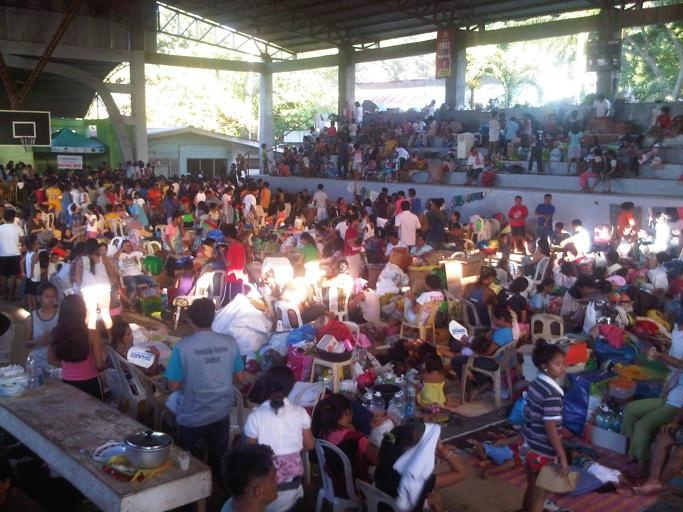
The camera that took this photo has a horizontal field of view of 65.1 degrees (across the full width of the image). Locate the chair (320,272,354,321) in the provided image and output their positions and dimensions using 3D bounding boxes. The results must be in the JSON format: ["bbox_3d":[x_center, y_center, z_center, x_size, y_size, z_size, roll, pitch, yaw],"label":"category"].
[{"bbox_3d":[-0.064,0.592,7.917,0.537,0.901,0.542,1,2,-8],"label":"chair"}]

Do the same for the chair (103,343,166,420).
[{"bbox_3d":[-2.232,1.332,5.766,0.521,0.802,0.514,3,16,26],"label":"chair"}]

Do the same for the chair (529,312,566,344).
[{"bbox_3d":[2.710,0.949,7.099,0.392,0.381,1.296,1,12,19],"label":"chair"}]

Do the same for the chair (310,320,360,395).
[{"bbox_3d":[-0.103,1.162,6.008,0.391,0.700,0.440,21,26,35],"label":"chair"}]

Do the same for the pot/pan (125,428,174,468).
[{"bbox_3d":[-1.349,1.331,3.718,0.265,0.204,0.292,-23,-35,13],"label":"pot/pan"}]

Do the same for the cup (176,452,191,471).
[{"bbox_3d":[-1.125,1.419,3.773,0.097,0.143,0.103,2,2,0],"label":"cup"}]

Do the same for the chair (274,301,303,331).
[{"bbox_3d":[-0.725,0.786,7.268,0.385,0.351,0.355,-4,10,-9],"label":"chair"}]

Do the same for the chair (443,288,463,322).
[{"bbox_3d":[1.732,0.712,8.224,0.336,0.554,0.342,-7,13,-12],"label":"chair"}]

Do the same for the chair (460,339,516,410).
[{"bbox_3d":[1.894,1.450,6.945,0.712,1.074,0.721,3,4,35],"label":"chair"}]

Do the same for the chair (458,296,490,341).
[{"bbox_3d":[1.853,0.861,7.794,0.425,0.668,0.377,-10,17,-17],"label":"chair"}]

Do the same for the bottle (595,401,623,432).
[{"bbox_3d":[2.900,1.724,5.824,0.266,0.208,0.272,-3,10,0],"label":"bottle"}]
